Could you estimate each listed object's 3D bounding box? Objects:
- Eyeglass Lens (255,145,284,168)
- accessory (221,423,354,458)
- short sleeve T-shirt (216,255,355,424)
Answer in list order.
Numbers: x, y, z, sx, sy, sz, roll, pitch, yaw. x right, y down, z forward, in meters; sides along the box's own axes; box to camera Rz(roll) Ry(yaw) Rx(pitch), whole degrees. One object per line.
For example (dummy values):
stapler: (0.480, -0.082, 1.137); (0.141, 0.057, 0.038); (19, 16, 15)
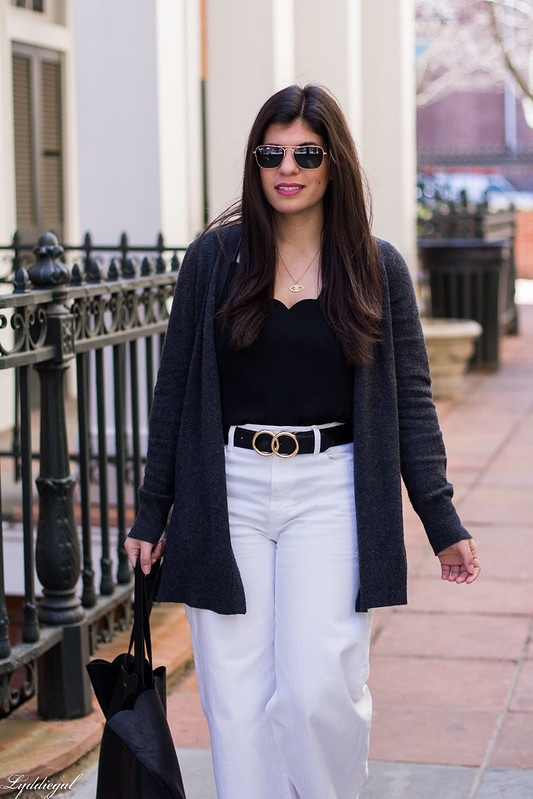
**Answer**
Eyeglass Lens: (0.006, -0.455, 1.731); (0.051, 0.049, 0.023); (8, 14, 40)
accessory: (0.049, 0.074, 1.680); (0.233, 0.053, 0.093); (-1, 4, -3)
short sleeve T-shirt: (0.037, -0.107, 1.723); (0.296, 0.384, 0.216); (-2, 1, 6)
